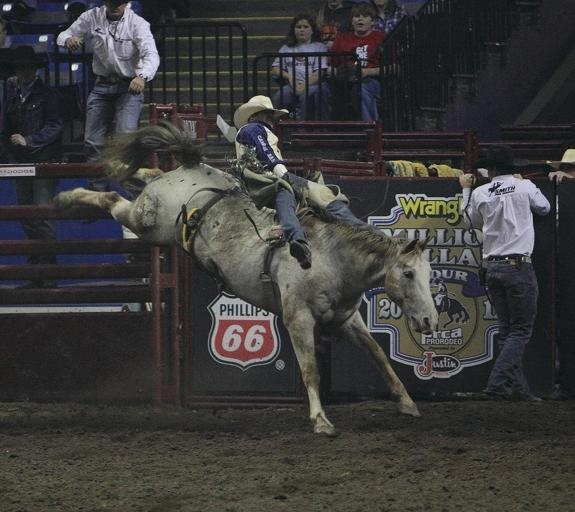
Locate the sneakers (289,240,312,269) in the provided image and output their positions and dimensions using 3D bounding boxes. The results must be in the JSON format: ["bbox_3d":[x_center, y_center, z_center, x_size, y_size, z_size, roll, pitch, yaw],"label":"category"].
[{"bbox_3d":[0.174,-0.006,12.166,0.145,0.368,0.166,-8,44,11],"label":"sneakers"}]

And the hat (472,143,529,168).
[{"bbox_3d":[2.657,-1.255,14.652,0.584,0.211,0.654,5,11,34],"label":"hat"}]

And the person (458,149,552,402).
[{"bbox_3d":[2.474,0.212,13.280,0.893,2.768,1.293,-1,15,7],"label":"person"}]

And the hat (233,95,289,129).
[{"bbox_3d":[-0.369,-1.635,13.069,0.531,0.177,0.423,-18,-22,23],"label":"hat"}]
